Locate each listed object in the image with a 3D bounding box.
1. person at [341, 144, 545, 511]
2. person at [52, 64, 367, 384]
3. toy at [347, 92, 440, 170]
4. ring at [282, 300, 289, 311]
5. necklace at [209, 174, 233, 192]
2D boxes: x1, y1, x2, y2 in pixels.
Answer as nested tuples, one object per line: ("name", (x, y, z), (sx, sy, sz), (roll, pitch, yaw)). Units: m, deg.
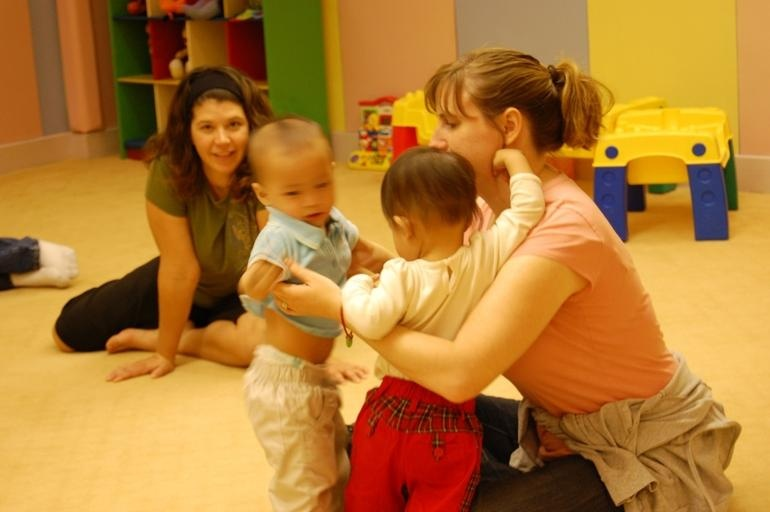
("person", (0.136, 0.203, 1.540), (0.510, 0.922, 0.299), (-13, 19, -32))
("person", (-0.754, -0.144, 2.558), (1.143, 1.166, 0.710), (1, -4, -23))
("toy", (-0.155, -1.152, 5.579), (0.666, 0.587, 0.682), (9, 13, -20))
("ring", (-0.265, 0.132, 1.619), (0.021, 0.022, 0.016), (20, 8, 14))
("necklace", (-0.657, -0.289, 2.444), (0.076, 0.059, 0.077), (24, 35, 36))
